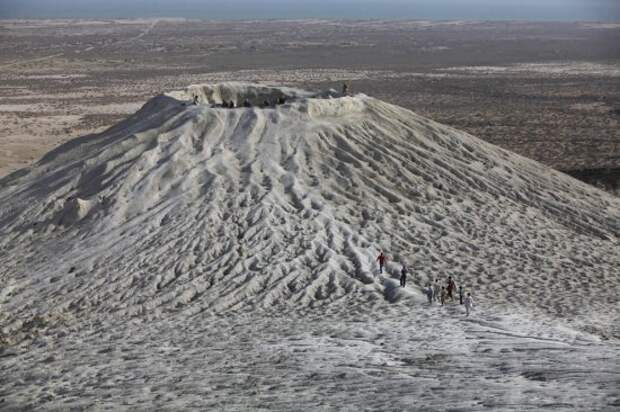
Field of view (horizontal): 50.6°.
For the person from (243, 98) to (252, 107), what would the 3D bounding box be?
[{"bbox_3d":[-3.473,-5.765,37.098,0.597,0.411,1.343,1,-3,-3],"label":"person"}]
